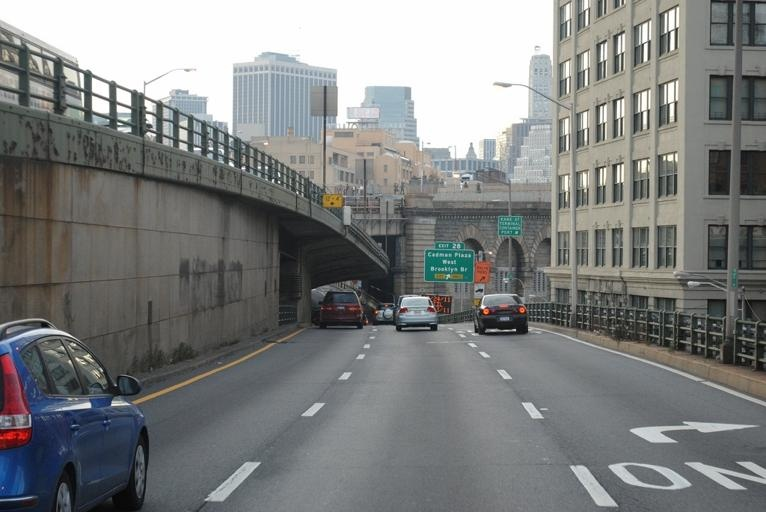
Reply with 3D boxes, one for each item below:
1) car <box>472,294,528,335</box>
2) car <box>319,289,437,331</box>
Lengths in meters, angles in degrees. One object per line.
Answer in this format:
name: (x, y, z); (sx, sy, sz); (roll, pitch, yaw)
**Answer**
car: (5.846, 3.025, 38.142); (2.426, 2.159, 5.543); (-1, -5, 1)
car: (-2.285, 3.130, 43.967); (2.865, 2.945, 7.689); (0, -2, 1)
